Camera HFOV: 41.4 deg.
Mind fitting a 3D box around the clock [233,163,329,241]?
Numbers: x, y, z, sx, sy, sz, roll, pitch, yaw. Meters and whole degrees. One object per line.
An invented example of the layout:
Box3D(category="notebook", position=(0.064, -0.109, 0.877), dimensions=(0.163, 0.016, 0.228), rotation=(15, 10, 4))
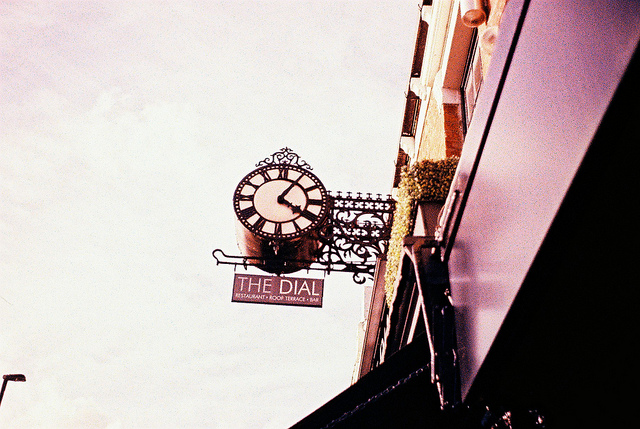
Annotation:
Box3D(category="clock", position=(-0.505, -0.089, 11.202), dimensions=(1.186, 1.294, 0.102), rotation=(-5, -45, -4))
